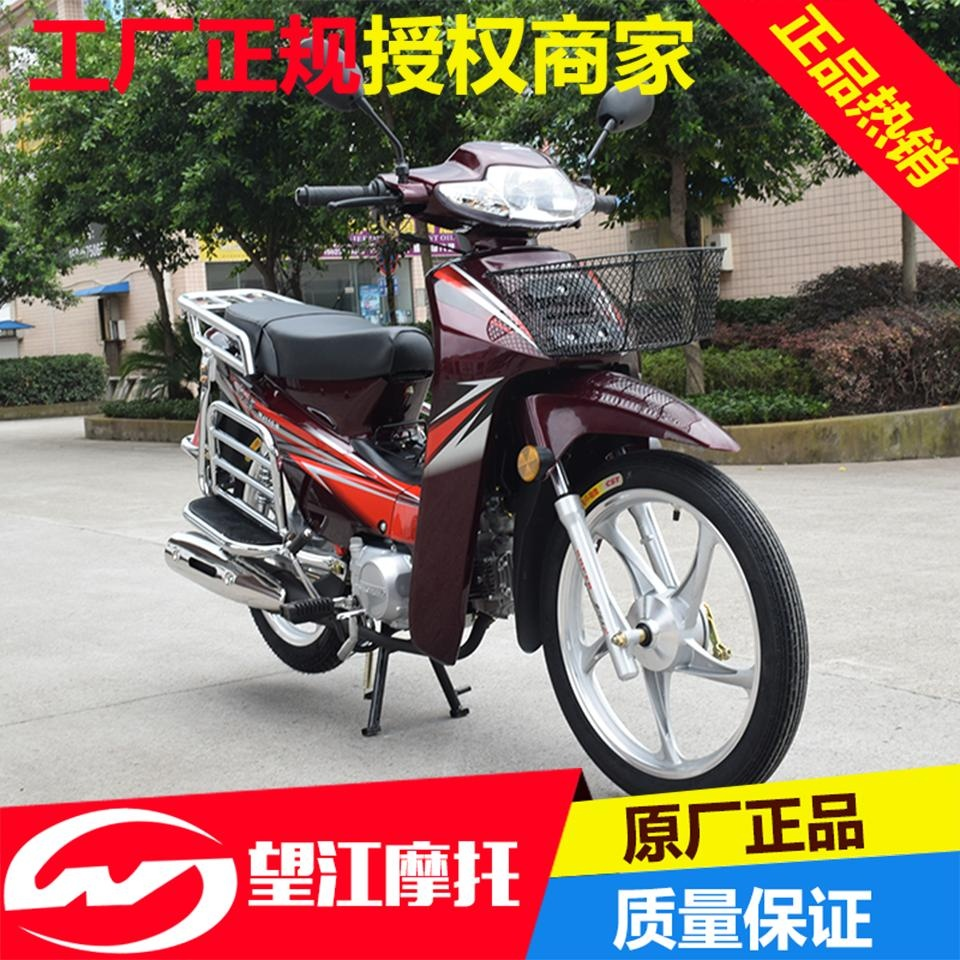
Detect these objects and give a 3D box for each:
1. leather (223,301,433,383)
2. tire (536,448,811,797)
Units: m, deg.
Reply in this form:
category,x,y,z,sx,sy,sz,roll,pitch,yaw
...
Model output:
category,x,y,z,sx,sy,sz,roll,pitch,yaw
leather,-0.539,-0.444,3.183,0.595,0.139,0.332,4,6,24
tire,0.438,0.359,2.271,0.338,0.853,0.703,-5,10,-21
